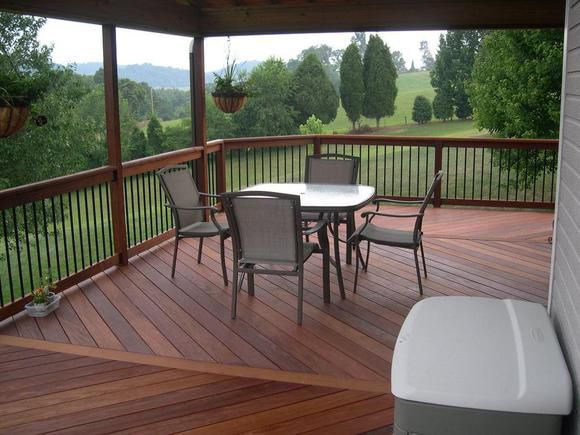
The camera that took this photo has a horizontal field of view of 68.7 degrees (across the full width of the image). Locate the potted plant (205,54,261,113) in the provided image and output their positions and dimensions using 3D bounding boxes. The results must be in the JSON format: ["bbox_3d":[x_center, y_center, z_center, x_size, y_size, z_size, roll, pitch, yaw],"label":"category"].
[{"bbox_3d":[-0.804,-1.822,5.835,0.511,0.777,0.496,-2,11,-22],"label":"potted plant"}]
